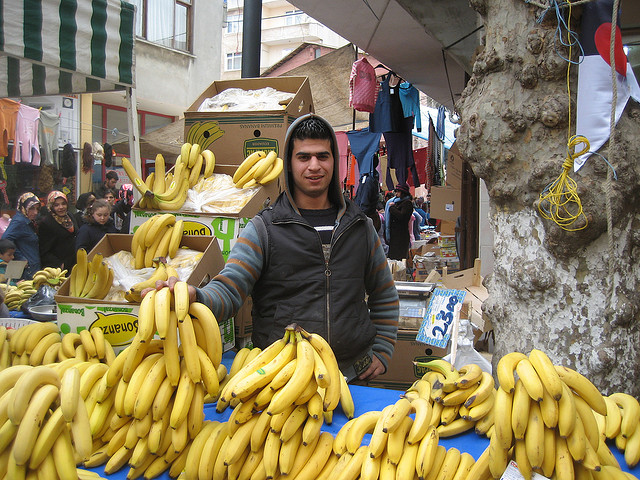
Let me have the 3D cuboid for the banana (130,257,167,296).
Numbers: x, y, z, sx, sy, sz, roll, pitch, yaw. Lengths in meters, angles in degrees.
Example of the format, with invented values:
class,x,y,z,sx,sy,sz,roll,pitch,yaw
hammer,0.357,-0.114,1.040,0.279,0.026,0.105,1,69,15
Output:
class,x,y,z,sx,sy,sz,roll,pitch,yaw
banana,-1.152,0.258,3.647,0.075,0.178,0.250,20,44,37

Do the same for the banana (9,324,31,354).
class,x,y,z,sx,sy,sz,roll,pitch,yaw
banana,-1.956,0.633,3.590,0.069,0.217,0.055,21,-35,19

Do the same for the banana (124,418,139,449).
class,x,y,z,sx,sy,sz,roll,pitch,yaw
banana,-0.926,0.970,2.684,0.045,0.187,0.059,13,-28,-21

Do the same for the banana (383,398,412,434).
class,x,y,z,sx,sy,sz,roll,pitch,yaw
banana,0.352,0.864,2.593,0.085,0.098,0.292,-3,9,25

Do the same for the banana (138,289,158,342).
class,x,y,z,sx,sy,sz,roll,pitch,yaw
banana,-0.851,0.374,2.753,0.061,0.258,0.082,10,-26,6

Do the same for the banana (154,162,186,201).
class,x,y,z,sx,sy,sz,roll,pitch,yaw
banana,-1.195,-0.434,4.436,0.491,0.202,0.092,-24,-4,42

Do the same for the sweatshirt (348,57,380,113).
class,x,y,z,sx,sy,sz,roll,pitch,yaw
sweatshirt,0.684,-2.465,8.641,0.328,0.814,0.762,3,-1,22

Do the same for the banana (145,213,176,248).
class,x,y,z,sx,sy,sz,roll,pitch,yaw
banana,-1.176,-0.090,3.998,0.078,0.135,0.411,-8,26,15

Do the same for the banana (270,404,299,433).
class,x,y,z,sx,sy,sz,roll,pitch,yaw
banana,-0.187,0.852,2.628,0.053,0.072,0.197,-2,19,43

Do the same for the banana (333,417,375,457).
class,x,y,z,sx,sy,sz,roll,pitch,yaw
banana,0.166,0.999,2.738,0.051,0.130,0.234,17,-49,-29

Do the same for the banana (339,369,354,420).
class,x,y,z,sx,sy,sz,roll,pitch,yaw
banana,0.140,0.866,3.028,0.056,0.264,0.082,-26,-22,16

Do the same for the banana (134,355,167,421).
class,x,y,z,sx,sy,sz,roll,pitch,yaw
banana,-0.840,0.734,2.746,0.081,0.382,0.111,15,-36,-7

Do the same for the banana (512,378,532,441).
class,x,y,z,sx,sy,sz,roll,pitch,yaw
banana,0.910,0.771,2.529,0.066,0.301,0.095,3,-27,5

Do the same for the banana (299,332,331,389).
class,x,y,z,sx,sy,sz,roll,pitch,yaw
banana,-0.027,0.598,2.690,0.076,0.052,0.243,3,43,-39

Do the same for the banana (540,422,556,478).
class,x,y,z,sx,sy,sz,roll,pitch,yaw
banana,1.025,0.958,2.451,0.059,0.257,0.075,3,-9,-23

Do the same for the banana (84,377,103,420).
class,x,y,z,sx,sy,sz,roll,pitch,yaw
banana,-1.186,0.841,2.894,0.037,0.210,0.070,3,-33,5

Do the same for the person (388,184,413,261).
class,x,y,z,sx,sy,sz,roll,pitch,yaw
person,1.356,-0.263,9.572,0.375,1.528,0.414,-12,32,-22

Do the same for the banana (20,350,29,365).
class,x,y,z,sx,sy,sz,roll,pitch,yaw
banana,-1.882,0.752,3.477,0.049,0.088,0.075,3,-1,-32

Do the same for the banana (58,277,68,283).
class,x,y,z,sx,sy,sz,roll,pitch,yaw
banana,-2.280,0.355,4.836,0.087,0.028,0.096,5,4,12

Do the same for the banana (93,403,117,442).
class,x,y,z,sx,sy,sz,roll,pitch,yaw
banana,-1.108,0.942,2.796,0.040,0.207,0.066,29,-10,-16

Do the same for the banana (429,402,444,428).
class,x,y,z,sx,sy,sz,roll,pitch,yaw
banana,0.602,0.915,2.833,0.039,0.076,0.211,10,37,20

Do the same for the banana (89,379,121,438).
class,x,y,z,sx,sy,sz,roll,pitch,yaw
banana,-1.099,0.878,2.800,0.053,0.307,0.099,2,-29,20

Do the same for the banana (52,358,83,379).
class,x,y,z,sx,sy,sz,roll,pitch,yaw
banana,-1.443,0.733,3.127,0.054,0.094,0.254,0,-1,-5

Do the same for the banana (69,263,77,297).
class,x,y,z,sx,sy,sz,roll,pitch,yaw
banana,-1.798,0.299,3.972,0.039,0.211,0.065,5,-1,30

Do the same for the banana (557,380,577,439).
class,x,y,z,sx,sy,sz,roll,pitch,yaw
banana,1.123,0.785,2.491,0.076,0.226,0.147,2,-1,30

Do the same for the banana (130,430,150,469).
class,x,y,z,sx,sy,sz,roll,pitch,yaw
banana,-0.874,1.028,2.656,0.073,0.183,0.069,3,-1,-4

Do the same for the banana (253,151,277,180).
class,x,y,z,sx,sy,sz,roll,pitch,yaw
banana,-0.437,-0.604,4.421,0.076,0.378,0.100,9,-45,21

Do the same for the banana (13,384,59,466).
class,x,y,z,sx,sy,sz,roll,pitch,yaw
banana,-1.302,0.850,2.511,0.077,0.391,0.172,3,-1,25

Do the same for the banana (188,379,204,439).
class,x,y,z,sx,sy,sz,roll,pitch,yaw
banana,-0.616,0.844,2.717,0.061,0.271,0.076,3,-5,0

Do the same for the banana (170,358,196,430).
class,x,y,z,sx,sy,sz,roll,pitch,yaw
banana,-0.663,0.773,2.715,0.067,0.379,0.120,2,-22,-1

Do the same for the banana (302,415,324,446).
class,x,y,z,sx,sy,sz,roll,pitch,yaw
banana,-0.034,0.904,2.657,0.049,0.171,0.058,32,-34,-9

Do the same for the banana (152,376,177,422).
class,x,y,z,sx,sy,sz,roll,pitch,yaw
banana,-0.775,0.773,2.743,0.057,0.243,0.081,13,-25,13

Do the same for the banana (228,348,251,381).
class,x,y,z,sx,sy,sz,roll,pitch,yaw
banana,-0.466,0.698,3.184,0.062,0.094,0.268,8,33,16

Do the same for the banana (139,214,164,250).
class,x,y,z,sx,sy,sz,roll,pitch,yaw
banana,-1.265,-0.061,4.007,0.068,0.339,0.086,7,-29,26

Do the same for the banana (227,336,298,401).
class,x,y,z,sx,sy,sz,roll,pitch,yaw
banana,-0.283,0.660,2.773,0.135,0.426,0.090,35,-41,9

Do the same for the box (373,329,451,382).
class,x,y,z,sx,sy,sz,roll,pitch,yaw
box,0.790,0.976,4.821,0.447,0.433,0.735,4,-3,21

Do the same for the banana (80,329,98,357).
class,x,y,z,sx,sy,sz,roll,pitch,yaw
banana,-1.462,0.647,3.440,0.064,0.234,0.079,-23,-41,-14

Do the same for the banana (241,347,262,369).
class,x,y,z,sx,sy,sz,roll,pitch,yaw
banana,-0.388,0.656,3.080,0.041,0.065,0.172,0,24,20

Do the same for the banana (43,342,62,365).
class,x,y,z,sx,sy,sz,roll,pitch,yaw
banana,-1.693,0.720,3.439,0.042,0.059,0.172,8,35,0

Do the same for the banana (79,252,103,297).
class,x,y,z,sx,sy,sz,roll,pitch,yaw
banana,-1.553,0.245,3.713,0.195,0.326,0.087,2,-1,39

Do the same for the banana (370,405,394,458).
class,x,y,z,sx,sy,sz,roll,pitch,yaw
banana,0.287,0.884,2.618,0.066,0.287,0.080,7,-20,28

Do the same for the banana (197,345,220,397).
class,x,y,z,sx,sy,sz,roll,pitch,yaw
banana,-0.561,0.675,2.792,0.074,0.306,0.097,-20,-12,-14

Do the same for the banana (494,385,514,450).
class,x,y,z,sx,sy,sz,roll,pitch,yaw
banana,0.863,0.805,2.541,0.085,0.296,0.071,-1,-36,36

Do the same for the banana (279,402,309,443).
class,x,y,z,sx,sy,sz,roll,pitch,yaw
banana,-0.117,0.893,2.648,0.076,0.099,0.300,-22,8,21

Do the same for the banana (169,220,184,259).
class,x,y,z,sx,sy,sz,roll,pitch,yaw
banana,-1.054,0.002,4.027,0.064,0.277,0.088,12,-24,-3

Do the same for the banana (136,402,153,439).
class,x,y,z,sx,sy,sz,roll,pitch,yaw
banana,-0.857,0.906,2.718,0.053,0.205,0.057,25,-16,-38

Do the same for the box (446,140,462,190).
class,x,y,z,sx,sy,sz,roll,pitch,yaw
box,2.334,-1.232,9.496,0.206,0.740,0.434,3,-1,-37

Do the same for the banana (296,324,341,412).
class,x,y,z,sx,sy,sz,roll,pitch,yaw
banana,0.018,0.619,2.793,0.168,0.176,0.556,4,10,-10

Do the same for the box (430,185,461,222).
class,x,y,z,sx,sy,sz,roll,pitch,yaw
box,2.002,-0.601,8.783,0.472,0.555,0.513,4,8,16
